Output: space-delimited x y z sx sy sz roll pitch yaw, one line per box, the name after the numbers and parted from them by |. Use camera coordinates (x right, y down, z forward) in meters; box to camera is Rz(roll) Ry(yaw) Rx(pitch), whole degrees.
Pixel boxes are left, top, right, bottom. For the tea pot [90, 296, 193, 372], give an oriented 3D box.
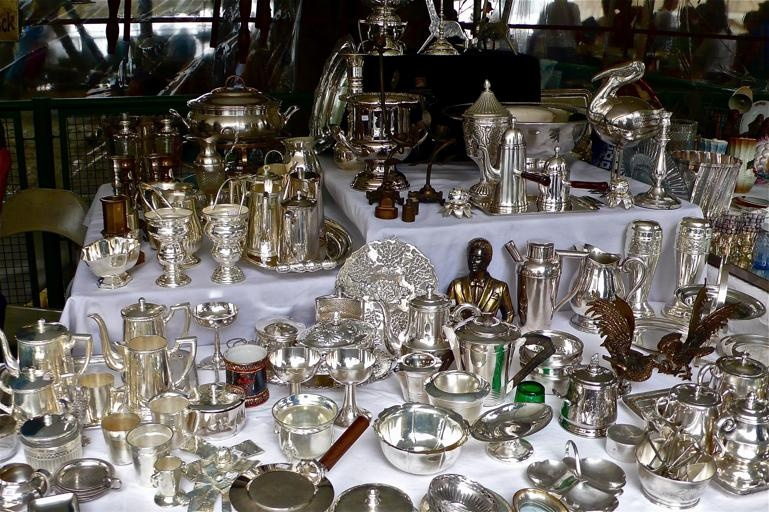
-0.893 0.231 2.354 0.422 0.347 0.247 -3 16 -21 | tea pot

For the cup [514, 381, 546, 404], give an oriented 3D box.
0.541 0.502 2.277 0.098 0.054 0.168 5 10 20 | cup

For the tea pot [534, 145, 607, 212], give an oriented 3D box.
0.861 -0.375 2.973 0.422 0.336 0.288 -1 27 1 | tea pot

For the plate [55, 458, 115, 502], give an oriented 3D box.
-0.952 0.711 1.948 0.173 0.103 0.111 -5 12 -32 | plate

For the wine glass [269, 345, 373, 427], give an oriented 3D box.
-0.231 0.462 2.186 0.351 0.288 0.245 8 12 36 | wine glass

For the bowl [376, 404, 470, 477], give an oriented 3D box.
0.095 0.600 1.969 0.296 0.111 0.300 0 12 0 | bowl

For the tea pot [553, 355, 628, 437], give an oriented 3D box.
0.710 0.492 2.281 0.280 0.270 0.190 -6 22 -7 | tea pot

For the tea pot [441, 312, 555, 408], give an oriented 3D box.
0.381 0.350 2.355 0.435 0.377 0.267 2 22 2 | tea pot

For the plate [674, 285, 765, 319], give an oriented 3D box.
1.460 0.187 2.573 0.192 0.022 0.193 -7 27 -9 | plate

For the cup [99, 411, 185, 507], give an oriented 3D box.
-0.796 0.636 2.019 0.282 0.210 0.138 7 12 33 | cup

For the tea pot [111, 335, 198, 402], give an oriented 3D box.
-0.818 0.398 2.183 0.323 0.244 0.210 -2 11 -15 | tea pot

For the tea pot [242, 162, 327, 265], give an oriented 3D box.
-0.440 -0.184 2.770 0.259 0.335 0.476 2 21 3 | tea pot

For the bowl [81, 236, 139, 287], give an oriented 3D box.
-1.155 0.025 2.584 0.219 0.204 0.185 -4 11 -25 | bowl

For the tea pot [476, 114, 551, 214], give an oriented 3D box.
0.573 -0.379 2.836 0.507 0.525 0.238 2 19 13 | tea pot

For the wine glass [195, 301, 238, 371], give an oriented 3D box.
-0.697 0.314 2.527 0.174 0.267 0.259 -2 11 -17 | wine glass
